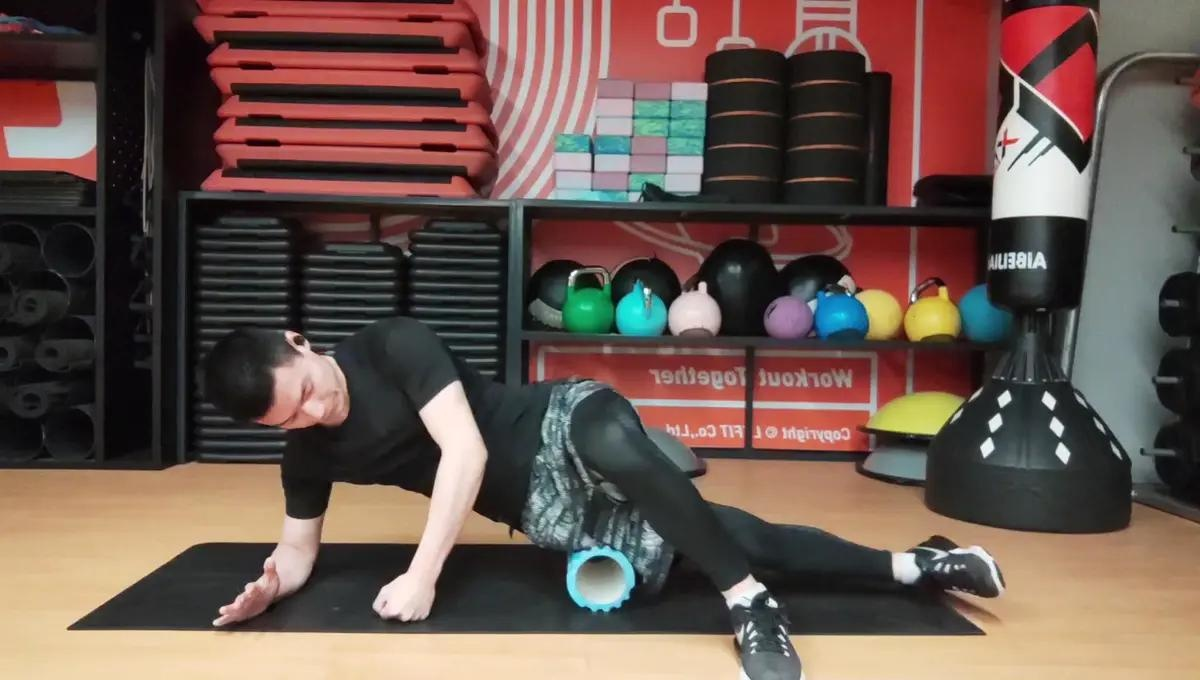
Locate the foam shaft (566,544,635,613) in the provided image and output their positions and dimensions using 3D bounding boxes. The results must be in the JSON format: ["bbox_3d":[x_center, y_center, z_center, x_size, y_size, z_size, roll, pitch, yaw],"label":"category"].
[{"bbox_3d":[0.000,1.051,4.702,0.279,0.326,0.222,0,0,1],"label":"foam shaft"}]

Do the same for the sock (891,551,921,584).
[{"bbox_3d":[1.341,0.994,4.763,0.137,0.108,0.132,6,-13,41],"label":"sock"}]

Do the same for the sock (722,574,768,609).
[{"bbox_3d":[0.589,1.035,4.456,0.176,0.120,0.073,-22,-26,-10],"label":"sock"}]
